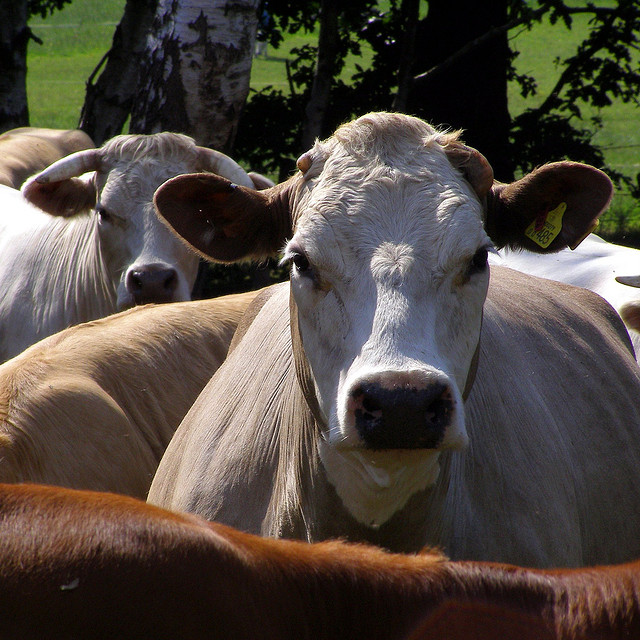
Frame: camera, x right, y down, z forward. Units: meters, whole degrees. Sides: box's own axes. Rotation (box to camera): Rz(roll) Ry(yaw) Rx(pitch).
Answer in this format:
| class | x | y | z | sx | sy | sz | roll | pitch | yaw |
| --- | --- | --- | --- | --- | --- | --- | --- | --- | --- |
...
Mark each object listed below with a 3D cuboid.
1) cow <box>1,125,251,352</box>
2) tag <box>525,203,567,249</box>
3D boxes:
| class | x | y | z | sx | sy | sz | roll | pitch | yaw |
| --- | --- | --- | --- | --- | --- | --- | --- | --- | --- |
| cow | -1.290 | -0.470 | 7.122 | 0.878 | 1.113 | 1.888 | -4 | 1 | -16 |
| tag | 0.827 | -0.342 | 4.476 | 0.098 | 0.179 | 0.041 | 37 | 15 | 29 |
